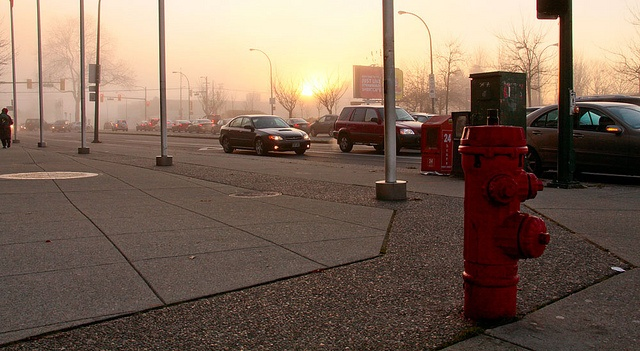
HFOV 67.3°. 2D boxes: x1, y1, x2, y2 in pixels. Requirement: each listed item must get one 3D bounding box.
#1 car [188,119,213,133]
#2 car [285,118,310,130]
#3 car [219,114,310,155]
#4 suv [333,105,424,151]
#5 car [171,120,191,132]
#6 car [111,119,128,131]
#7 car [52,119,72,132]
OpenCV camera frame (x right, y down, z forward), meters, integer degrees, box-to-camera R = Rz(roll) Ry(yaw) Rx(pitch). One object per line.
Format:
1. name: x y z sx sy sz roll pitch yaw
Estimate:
1. car: -17.335 -6.989 70.599 3.165 2.133 2.614 12 20 34
2. car: -2.432 -5.319 51.608 1.519 1.098 3.369 -1 11 -17
3. car: -2.798 -1.878 24.185 4.632 2.039 2.015 13 20 37
4. suv: 2.964 -2.273 24.506 2.206 2.608 4.774 -9 19 -31
5. car: -21.425 -7.450 74.513 1.022 2.038 6.081 -12 21 -38
6. car: -38.041 -9.100 91.583 2.708 1.990 4.199 -2 14 -21
7. car: -50.876 -9.623 94.718 4.204 2.166 2.337 14 21 38
